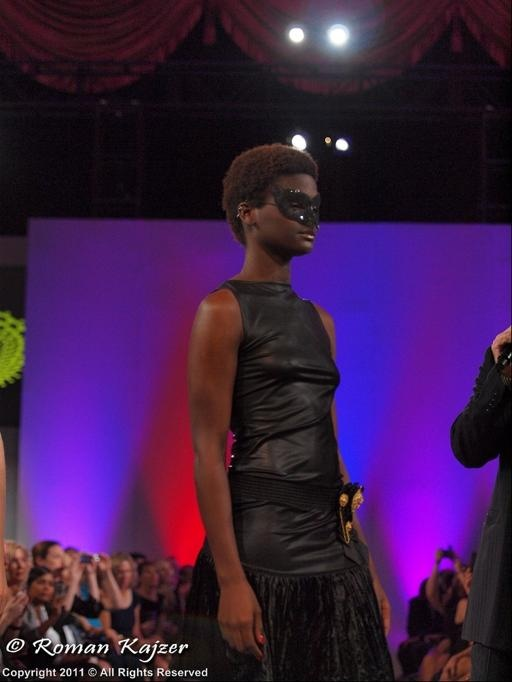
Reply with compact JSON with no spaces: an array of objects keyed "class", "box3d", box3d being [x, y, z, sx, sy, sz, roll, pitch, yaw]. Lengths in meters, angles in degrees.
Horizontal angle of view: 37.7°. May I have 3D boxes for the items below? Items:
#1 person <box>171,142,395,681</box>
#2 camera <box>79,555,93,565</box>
[{"class":"person","box3d":[0.087,0.113,1.822,0.510,1.322,0.373,4,-10,-7]},{"class":"camera","box3d":[-0.742,0.947,3.256,0.022,0.024,0.044,19,28,-6]}]
